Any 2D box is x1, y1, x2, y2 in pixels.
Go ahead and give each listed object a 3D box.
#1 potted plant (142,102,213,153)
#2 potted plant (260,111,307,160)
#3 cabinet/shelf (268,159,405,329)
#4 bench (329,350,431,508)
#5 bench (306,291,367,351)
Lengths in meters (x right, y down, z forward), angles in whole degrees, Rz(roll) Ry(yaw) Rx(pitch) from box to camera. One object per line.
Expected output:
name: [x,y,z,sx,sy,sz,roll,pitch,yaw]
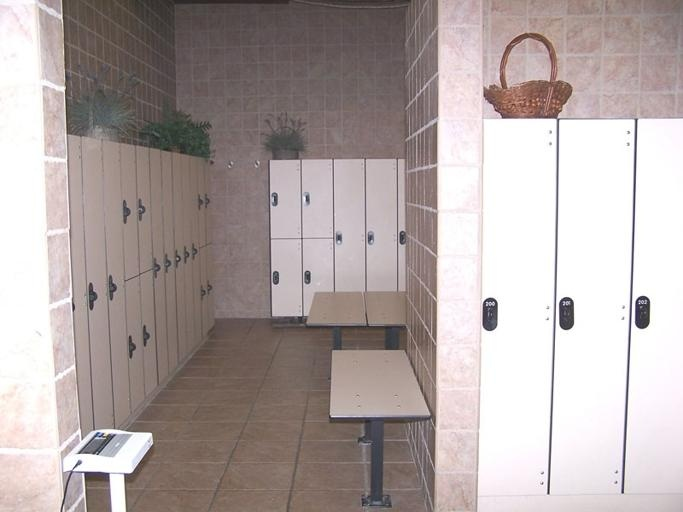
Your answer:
potted plant: [-1.709,-1.392,6.305,0.475,0.341,0.582,-2,-11,26]
potted plant: [-0.779,-1.631,7.533,0.620,0.648,0.560,0,10,-4]
cabinet/shelf: [0.056,-0.357,7.791,2.154,2.163,0.764,-2,19,-8]
bench: [0.220,1.161,3.688,0.578,0.755,1.073,0,10,-1]
bench: [-0.030,0.596,5.245,0.513,0.283,1.166,1,10,1]
